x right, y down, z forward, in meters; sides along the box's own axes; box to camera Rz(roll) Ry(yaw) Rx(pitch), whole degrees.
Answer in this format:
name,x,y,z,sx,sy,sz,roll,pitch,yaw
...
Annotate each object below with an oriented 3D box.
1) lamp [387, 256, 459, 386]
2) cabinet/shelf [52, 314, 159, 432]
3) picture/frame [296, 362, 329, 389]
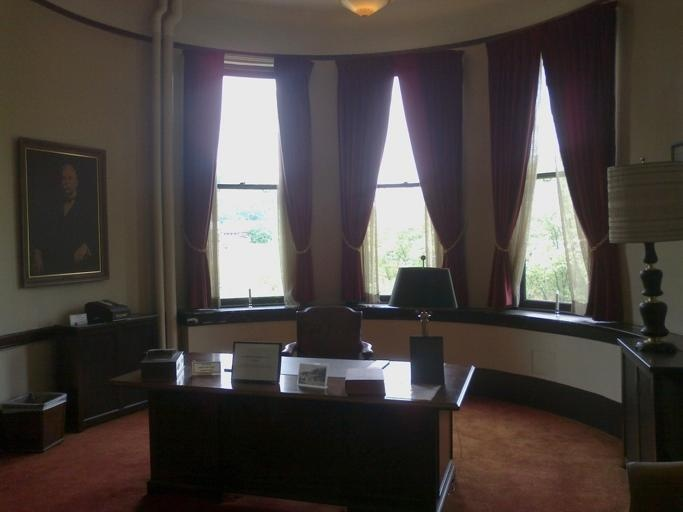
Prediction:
name,x,y,z,sx,sy,sz,roll,pitch,yaw
lamp,0.614,0.485,4.094,0.465,0.805,0.478,-4,10,-18
cabinet/shelf,-2.254,1.115,5.305,0.400,1.056,1.007,-1,-1,30
picture/frame,-0.201,0.844,4.019,0.220,0.140,0.205,1,10,7
